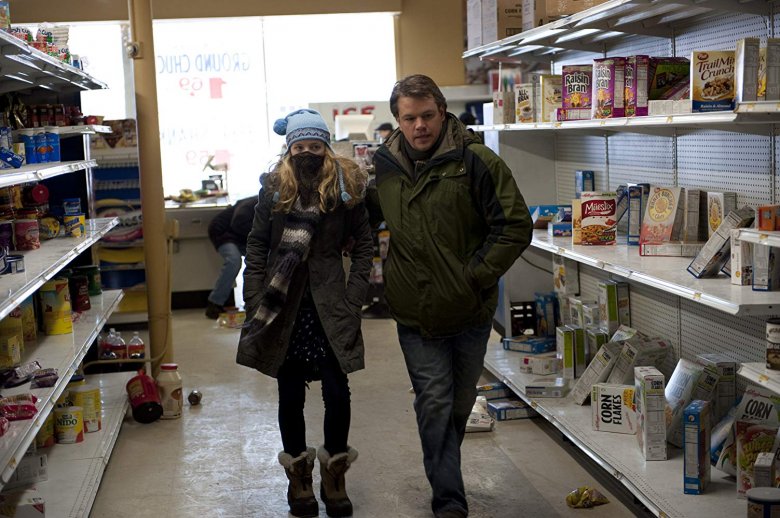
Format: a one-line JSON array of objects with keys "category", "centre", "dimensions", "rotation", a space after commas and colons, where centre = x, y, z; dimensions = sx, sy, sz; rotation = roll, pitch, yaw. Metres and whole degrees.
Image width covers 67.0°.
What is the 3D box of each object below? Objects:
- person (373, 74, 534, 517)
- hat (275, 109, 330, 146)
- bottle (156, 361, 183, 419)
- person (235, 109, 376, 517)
[{"category": "person", "centre": [0.336, 0.245, 3.285], "dimensions": [0.676, 2.480, 0.732], "rotation": [-9, 12, -28]}, {"category": "hat", "centre": [-0.532, -0.739, 3.353], "dimensions": [0.311, 0.205, 0.197], "rotation": [4, 7, 38]}, {"category": "bottle", "centre": [-1.832, 1.084, 4.902], "dimensions": [0.185, 0.437, 0.175], "rotation": [-4, 10, 1]}, {"category": "person", "centre": [-0.462, 0.332, 3.374], "dimensions": [0.757, 2.338, 0.503], "rotation": [-4, 10, 1]}]
